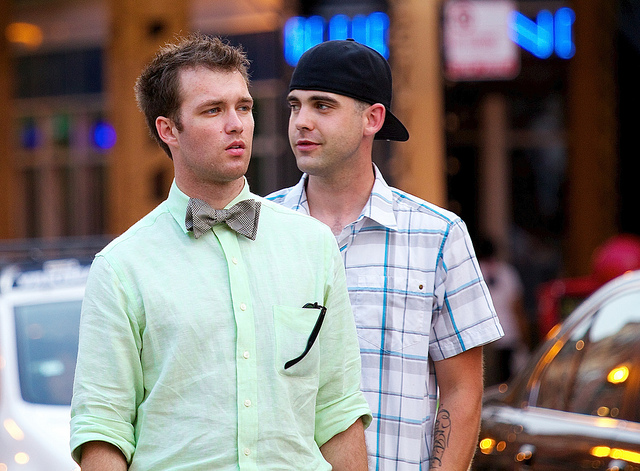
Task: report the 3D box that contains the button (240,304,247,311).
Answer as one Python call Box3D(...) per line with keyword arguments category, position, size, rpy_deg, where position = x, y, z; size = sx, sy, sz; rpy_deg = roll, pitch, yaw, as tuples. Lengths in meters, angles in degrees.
Box3D(category="button", position=(-0.538, 0.508, 10.050), size=(0.037, 0.040, 0.010), rpy_deg=(1, -9, -9))

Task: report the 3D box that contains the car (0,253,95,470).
Box3D(category="car", position=(-2.472, 1.069, 12.624), size=(1.086, 1.127, 1.918), rpy_deg=(-1, -14, -15))

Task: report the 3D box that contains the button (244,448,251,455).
Box3D(category="button", position=(-0.512, 1.518, 10.000), size=(0.040, 0.039, 0.006), rpy_deg=(-2, 1, -3))

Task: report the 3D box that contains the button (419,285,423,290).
Box3D(category="button", position=(0.754, 0.391, 10.705), size=(0.031, 0.033, 0.008), rpy_deg=(-1, -7, 1))

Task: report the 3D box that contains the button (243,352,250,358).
Box3D(category="button", position=(-0.523, 0.842, 10.026), size=(0.038, 0.041, 0.010), rpy_deg=(2, -5, -10))

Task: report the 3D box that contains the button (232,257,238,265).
Box3D(category="button", position=(-0.607, 0.183, 10.108), size=(0.035, 0.036, 0.008), rpy_deg=(-37, -7, -48))

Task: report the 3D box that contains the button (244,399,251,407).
Box3D(category="button", position=(-0.513, 1.181, 10.009), size=(0.046, 0.049, 0.013), rpy_deg=(-2, 1, -3))
